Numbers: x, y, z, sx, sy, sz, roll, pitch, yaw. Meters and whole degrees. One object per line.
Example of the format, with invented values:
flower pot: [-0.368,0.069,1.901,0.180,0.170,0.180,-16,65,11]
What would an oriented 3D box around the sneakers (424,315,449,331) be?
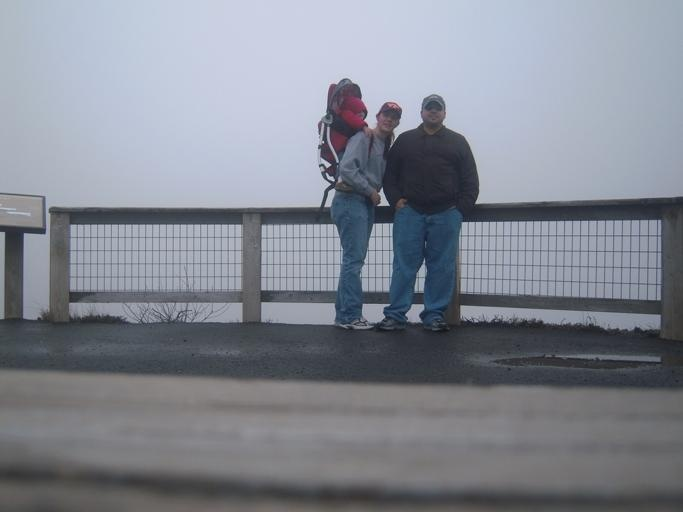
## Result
sneakers: [0.679,0.484,7.161,0.076,0.086,0.181,2,-7,-24]

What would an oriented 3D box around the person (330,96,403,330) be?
person: [0.162,-0.288,7.300,0.474,1.202,0.508,2,-1,-1]
